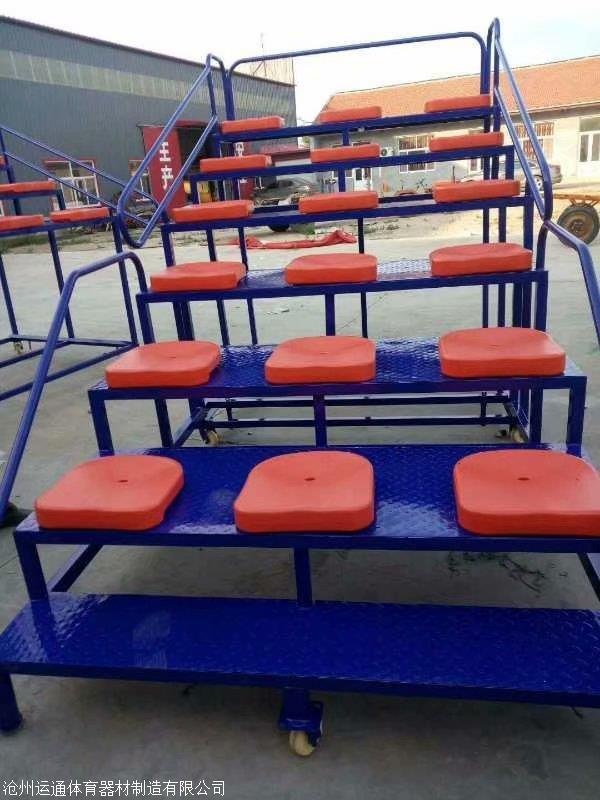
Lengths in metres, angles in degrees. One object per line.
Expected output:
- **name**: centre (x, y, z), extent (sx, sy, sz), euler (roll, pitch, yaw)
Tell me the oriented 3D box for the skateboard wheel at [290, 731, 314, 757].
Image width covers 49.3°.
- **skateboard wheel**: centre (0.004, 0.704, 1.356), extent (0.047, 0.021, 0.057), euler (3, 61, 0)
